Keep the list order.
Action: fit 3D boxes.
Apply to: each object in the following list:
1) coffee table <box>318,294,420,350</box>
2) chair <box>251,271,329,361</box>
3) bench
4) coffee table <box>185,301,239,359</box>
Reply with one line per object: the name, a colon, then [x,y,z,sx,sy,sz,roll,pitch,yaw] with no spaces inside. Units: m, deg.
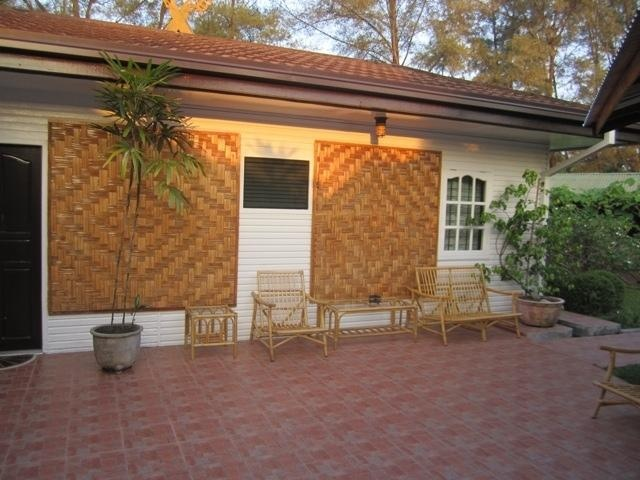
coffee table: [0.829,1.268,7.680,1.877,0.741,0.993,-1,10,-18]
chair: [-0.490,1.060,7.188,1.112,1.247,1.345,0,-2,-19]
bench: [2.485,1.119,8.054,1.769,0.980,1.249,-1,8,-30]
coffee table: [-1.655,1.345,6.935,0.718,0.559,0.562,2,1,-30]
